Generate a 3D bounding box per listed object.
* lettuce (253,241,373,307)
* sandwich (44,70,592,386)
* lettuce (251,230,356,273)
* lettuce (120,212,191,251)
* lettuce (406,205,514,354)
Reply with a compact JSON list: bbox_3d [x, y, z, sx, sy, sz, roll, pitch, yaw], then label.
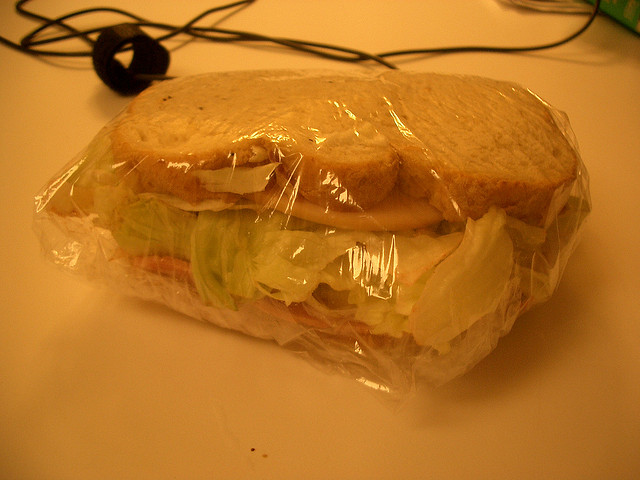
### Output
[{"bbox_3d":[-0.006,0.037,0.928,0.123,0.041,0.134,-17,21,35],"label":"lettuce"},{"bbox_3d":[0.000,-0.062,0.932,0.617,0.226,0.545,15,52,10],"label":"sandwich"},{"bbox_3d":[-0.024,0.016,0.905,0.151,0.062,0.039,9,34,-1],"label":"lettuce"},{"bbox_3d":[-0.254,0.006,0.942,0.070,0.019,0.070,27,-1,19],"label":"lettuce"},{"bbox_3d":[0.225,0.060,0.912,0.098,0.214,0.059,-1,27,44],"label":"lettuce"}]
